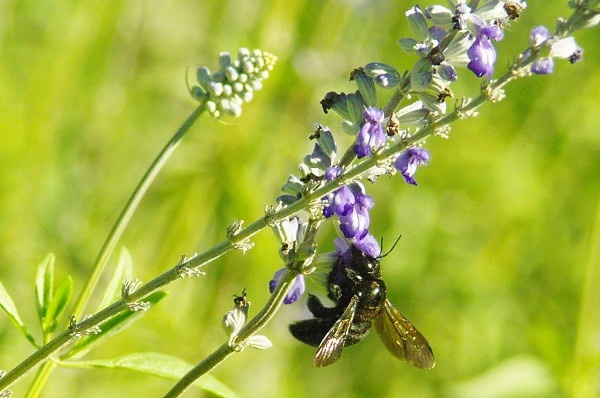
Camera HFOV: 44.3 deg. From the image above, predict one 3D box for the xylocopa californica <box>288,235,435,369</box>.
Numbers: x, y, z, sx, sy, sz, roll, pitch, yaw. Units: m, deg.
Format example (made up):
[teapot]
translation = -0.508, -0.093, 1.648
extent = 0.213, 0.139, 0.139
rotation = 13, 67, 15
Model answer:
[xylocopa californica]
translation = 0.207, 0.375, 2.544
extent = 0.473, 0.274, 0.469
rotation = 7, -80, 34
